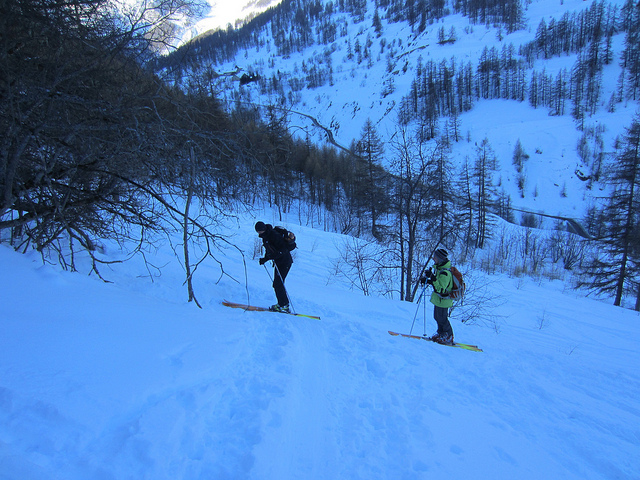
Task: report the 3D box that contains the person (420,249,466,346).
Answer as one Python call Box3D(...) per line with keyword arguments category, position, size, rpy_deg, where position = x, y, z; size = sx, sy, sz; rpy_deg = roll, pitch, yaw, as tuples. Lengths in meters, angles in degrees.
Box3D(category="person", position=(3.076, 1.426, 12.787), size=(1.051, 2.268, 0.809), rpy_deg=(6, -1, 32))

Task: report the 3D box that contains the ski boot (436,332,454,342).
Box3D(category="ski boot", position=(3.143, 2.460, 12.791), size=(0.461, 0.230, 0.182), rpy_deg=(8, -1, -11))

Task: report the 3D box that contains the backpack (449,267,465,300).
Box3D(category="backpack", position=(3.366, 1.089, 12.554), size=(0.359, 0.747, 0.391), rpy_deg=(6, -1, 27))

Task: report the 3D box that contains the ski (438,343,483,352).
Box3D(category="ski", position=(3.612, 2.654, 12.431), size=(0.698, 0.125, 0.198), rpy_deg=(10, 14, 14))

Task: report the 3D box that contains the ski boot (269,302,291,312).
Box3D(category="ski boot", position=(-1.044, 1.745, 13.160), size=(0.576, 0.326, 0.210), rpy_deg=(4, 3, -1))

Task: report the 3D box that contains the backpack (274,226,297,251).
Box3D(category="backpack", position=(-0.823, -0.102, 13.312), size=(0.560, 0.641, 0.454), rpy_deg=(-36, -12, 17))
